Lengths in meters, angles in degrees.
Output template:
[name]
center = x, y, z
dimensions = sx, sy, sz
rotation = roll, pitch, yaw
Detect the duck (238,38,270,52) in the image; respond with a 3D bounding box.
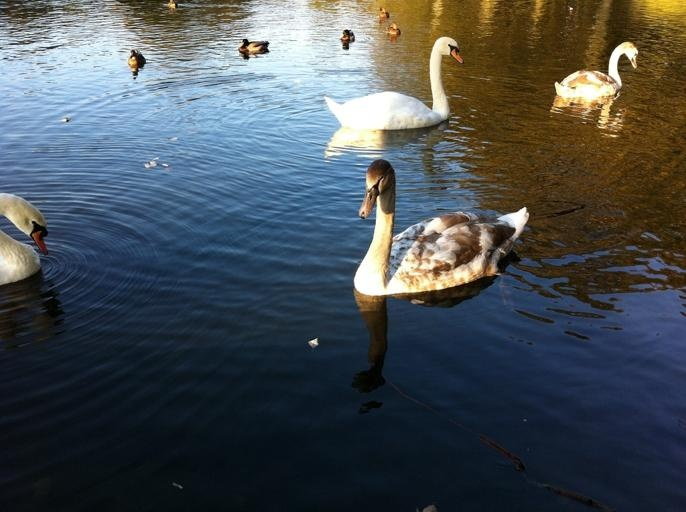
[duck]
center = -4.086, -9.395, 28.404
dimensions = 1.525, 0.730, 0.561
rotation = -7, 59, -9
